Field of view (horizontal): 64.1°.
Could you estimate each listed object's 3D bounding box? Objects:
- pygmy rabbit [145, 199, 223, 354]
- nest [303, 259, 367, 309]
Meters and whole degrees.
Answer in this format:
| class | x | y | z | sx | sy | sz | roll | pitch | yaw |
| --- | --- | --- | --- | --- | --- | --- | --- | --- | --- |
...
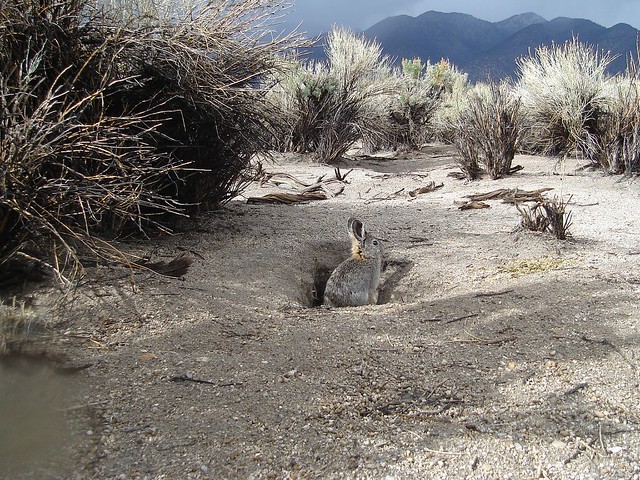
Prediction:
| class | x | y | z | sx | sy | sz | roll | pitch | yaw |
| --- | --- | --- | --- | --- | --- | --- | --- | --- | --- |
| pygmy rabbit | -1.005 | 0.251 | 3.983 | 0.510 | 1.097 | 0.452 | -8 | 13 | -42 |
| nest | 0.218 | 0.681 | 6.270 | 0.520 | 0.610 | 0.585 | -23 | 39 | -14 |
